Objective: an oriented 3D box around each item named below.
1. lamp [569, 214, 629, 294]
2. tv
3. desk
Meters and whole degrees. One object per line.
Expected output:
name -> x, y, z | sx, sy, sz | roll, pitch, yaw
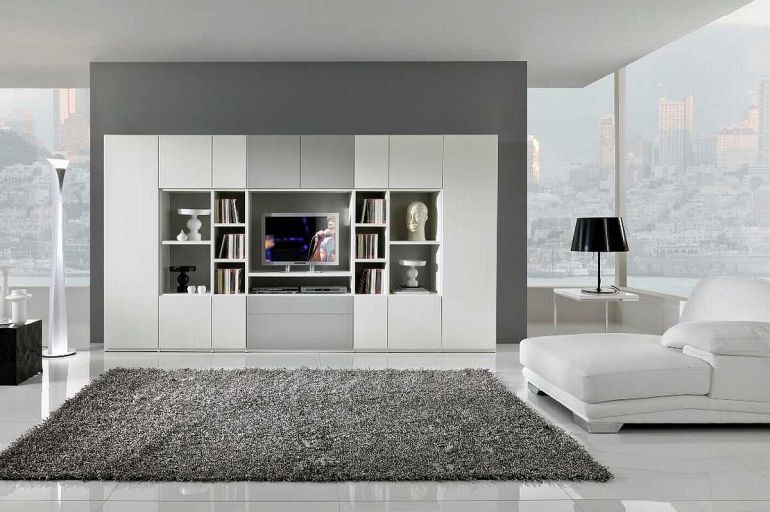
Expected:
lamp -> 2.564, -0.051, 9.060 | 0.931, 1.078, 0.888 | 0, 4, 25
tv -> -1.084, -0.221, 9.558 | 0.834, 0.577, 0.152 | 0, -3, -3
desk -> 2.615, 0.512, 9.278 | 0.858, 0.756, 0.842 | 3, -4, -36
